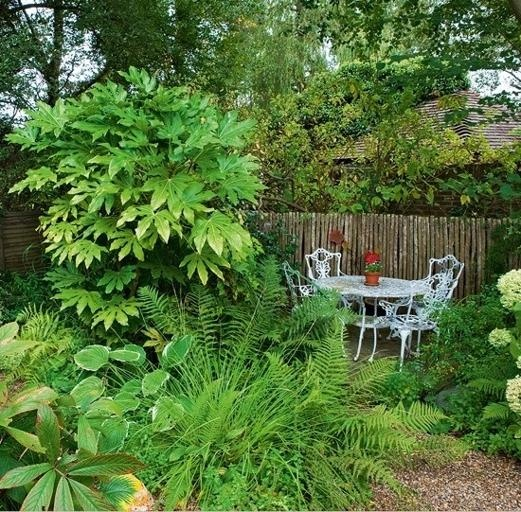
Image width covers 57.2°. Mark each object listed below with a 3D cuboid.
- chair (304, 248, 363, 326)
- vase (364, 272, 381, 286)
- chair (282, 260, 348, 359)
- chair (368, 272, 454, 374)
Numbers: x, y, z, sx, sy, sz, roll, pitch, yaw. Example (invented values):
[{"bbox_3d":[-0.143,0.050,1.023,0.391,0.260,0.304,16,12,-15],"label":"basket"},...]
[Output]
[{"bbox_3d":[1.273,0.306,7.261,1.039,1.245,0.974,-4,4,-17],"label":"chair"},{"bbox_3d":[1.370,0.284,5.819,0.186,0.138,0.170,0,0,-37],"label":"vase"},{"bbox_3d":[0.701,0.383,6.263,0.754,0.854,0.612,-4,8,6],"label":"chair"},{"bbox_3d":[1.536,0.661,5.253,0.698,0.859,0.704,2,11,-43],"label":"chair"}]
